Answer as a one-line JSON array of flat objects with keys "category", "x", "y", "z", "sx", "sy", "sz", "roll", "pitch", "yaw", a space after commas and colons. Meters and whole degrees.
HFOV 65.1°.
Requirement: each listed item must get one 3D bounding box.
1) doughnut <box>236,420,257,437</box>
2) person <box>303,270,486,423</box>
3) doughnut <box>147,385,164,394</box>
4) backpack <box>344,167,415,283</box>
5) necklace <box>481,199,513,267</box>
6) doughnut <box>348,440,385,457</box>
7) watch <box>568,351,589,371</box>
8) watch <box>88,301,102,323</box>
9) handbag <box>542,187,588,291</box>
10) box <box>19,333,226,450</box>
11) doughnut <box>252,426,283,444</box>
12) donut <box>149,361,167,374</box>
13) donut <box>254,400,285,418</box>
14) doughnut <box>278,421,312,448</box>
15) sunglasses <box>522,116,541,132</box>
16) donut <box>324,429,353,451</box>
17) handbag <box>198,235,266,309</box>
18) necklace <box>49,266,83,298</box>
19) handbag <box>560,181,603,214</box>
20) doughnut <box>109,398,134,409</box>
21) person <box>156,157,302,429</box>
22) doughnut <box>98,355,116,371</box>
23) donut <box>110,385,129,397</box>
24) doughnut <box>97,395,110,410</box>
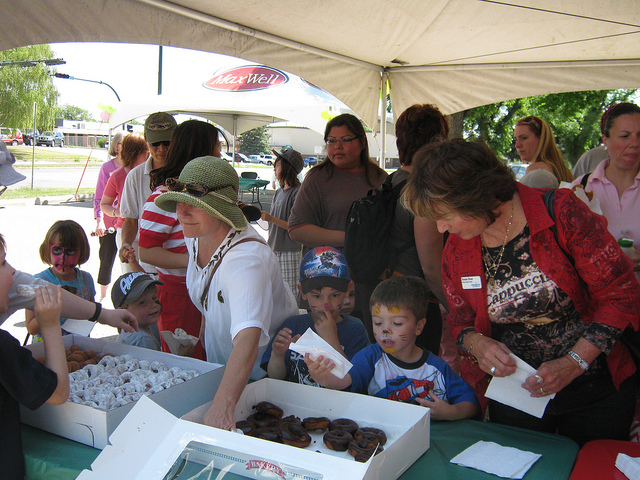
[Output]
[{"category": "doughnut", "x": -0.324, "y": 0.809, "z": 2.155, "sx": 0.064, "sy": 0.025, "sz": 0.068, "roll": -17, "pitch": 45, "yaw": -7}, {"category": "person", "x": 0.368, "y": 0.760, "z": 2.567, "sx": 0.870, "sy": 1.117, "sz": 0.458, "roll": 2, "pitch": -7, "yaw": -7}, {"category": "doughnut", "x": -0.764, "y": 0.688, "z": 2.322, "sx": 0.039, "sy": 0.018, "sz": 0.057, "roll": -4, "pitch": -2, "yaw": 28}, {"category": "backpack", "x": 0.427, "y": -0.113, "z": 3.448, "sx": 0.691, "sy": 0.711, "sz": 0.451, "roll": 0, "pitch": 15, "yaw": -32}, {"category": "necklace", "x": 0.840, "y": -0.033, "z": 2.384, "sx": 0.125, "sy": 0.327, "sz": 0.040, "roll": 5, "pitch": 11, "yaw": 18}, {"category": "doughnut", "x": 0.185, "y": 0.847, "z": 2.056, "sx": 0.117, "sy": 0.050, "sz": 0.127, "roll": -2, "pitch": 3, "yaw": 21}, {"category": "watch", "x": 1.157, "y": 0.536, "z": 2.256, "sx": 0.074, "sy": 0.027, "sz": 0.075, "roll": 45, "pitch": 3, "yaw": 38}, {"category": "watch", "x": -1.319, "y": 0.422, "z": 2.964, "sx": 0.070, "sy": 0.117, "sz": 0.096, "roll": 14, "pitch": 1, "yaw": -28}, {"category": "handbag", "x": 1.078, "y": 0.017, "z": 2.336, "sx": 0.129, "sy": 0.411, "sz": 0.286, "roll": -23, "pitch": -18, "yaw": 23}, {"category": "box", "x": -0.860, "y": 0.693, "z": 2.362, "sx": 0.665, "sy": 0.616, "sz": 0.649, "roll": 6, "pitch": 11, "yaw": 13}, {"category": "doughnut", "x": -0.227, "y": 0.815, "z": 2.114, "sx": 0.085, "sy": 0.034, "sz": 0.080, "roll": 9, "pitch": 1, "yaw": -41}, {"category": "donut", "x": -0.837, "y": 0.650, "z": 2.571, "sx": 0.053, "sy": 0.016, "sz": 0.054, "roll": 11, "pitch": 11, "yaw": 5}, {"category": "donut", "x": -0.241, "y": 0.774, "z": 2.315, "sx": 0.092, "sy": 0.039, "sz": 0.074, "roll": -2, "pitch": -13, "yaw": 40}, {"category": "doughnut", "x": -0.110, "y": 0.823, "z": 2.117, "sx": 0.093, "sy": 0.037, "sz": 0.088, "roll": 23, "pitch": 12, "yaw": -12}, {"category": "sunglasses", "x": 1.799, "y": -0.964, "z": 4.264, "sx": 0.133, "sy": 0.070, "sz": 0.106, "roll": 32, "pitch": 45, "yaw": -5}, {"category": "donut", "x": 0.077, "y": 0.843, "z": 2.116, "sx": 0.118, "sy": 0.049, "sz": 0.092, "roll": 3, "pitch": 11, "yaw": 8}, {"category": "handbag", "x": -0.417, "y": 0.189, "z": 2.581, "sx": 0.091, "sy": 0.322, "sz": 0.350, "roll": 28, "pitch": 37, "yaw": -27}, {"category": "necklace", "x": -2.006, "y": 0.333, "z": 3.954, "sx": 0.222, "sy": 0.255, "sz": 0.125, "roll": -6, "pitch": 13, "yaw": -33}, {"category": "handbag", "x": 1.579, "y": -0.272, "z": 2.987, "sx": 0.178, "sy": 0.226, "sz": 0.082, "roll": 26, "pitch": -15, "yaw": -4}, {"category": "doughnut", "x": -0.864, "y": 0.712, "z": 2.177, "sx": 0.063, "sy": 0.019, "sz": 0.068, "roll": -3, "pitch": 3, "yaw": 9}, {"category": "person", "x": -0.494, "y": 0.179, "z": 2.390, "sx": 0.662, "sy": 1.113, "sz": 0.916, "roll": 0, "pitch": 11, "yaw": -6}, {"category": "doughnut", "x": -1.111, "y": 0.640, "z": 2.610, "sx": 0.063, "sy": 0.064, "sz": 0.021, "roll": 43, "pitch": 22, "yaw": 8}, {"category": "donut", "x": -0.929, "y": 0.696, "z": 2.322, "sx": 0.066, "sy": 0.022, "sz": 0.077, "roll": -8, "pitch": 15, "yaw": -40}, {"category": "doughnut", "x": -0.952, "y": 0.719, "z": 2.210, "sx": 0.038, "sy": 0.051, "sz": 0.052, "roll": -1, "pitch": 4, "yaw": 1}]
